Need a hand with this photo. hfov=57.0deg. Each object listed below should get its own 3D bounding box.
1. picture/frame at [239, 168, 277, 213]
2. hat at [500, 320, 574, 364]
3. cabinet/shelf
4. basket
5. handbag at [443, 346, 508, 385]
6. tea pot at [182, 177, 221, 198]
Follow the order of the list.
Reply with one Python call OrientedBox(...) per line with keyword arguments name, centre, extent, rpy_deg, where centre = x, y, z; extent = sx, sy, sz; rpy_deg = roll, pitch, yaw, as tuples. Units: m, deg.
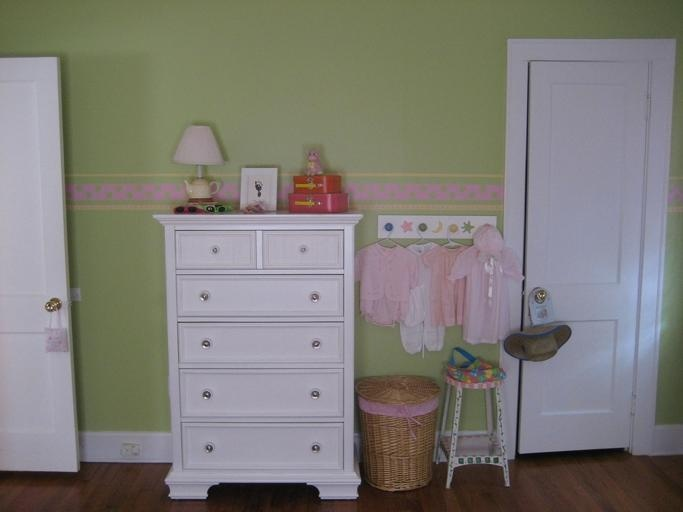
OrientedBox(name="picture/frame", centre=(-0.528, -0.416, 4.021), extent=(0.275, 0.359, 0.024), rpy_deg=(0, -6, 0))
OrientedBox(name="hat", centre=(1.263, 0.553, 4.051), extent=(0.271, 0.330, 0.086), rpy_deg=(-11, 42, -1))
OrientedBox(name="cabinet/shelf", centre=(-0.479, 0.573, 4.090), extent=(1.238, 1.853, 0.797), rpy_deg=(1, 12, 1))
OrientedBox(name="basket", centre=(0.374, 1.113, 4.184), extent=(0.596, 0.655, 0.553), rpy_deg=(1, 9, 12))
OrientedBox(name="handbag", centre=(0.836, 0.681, 4.055), extent=(0.217, 0.122, 0.301), rpy_deg=(-1, -1, -26))
OrientedBox(name="tea pot", centre=(-0.891, -0.430, 4.018), extent=(0.193, 0.141, 0.137), rpy_deg=(1, 6, -7))
